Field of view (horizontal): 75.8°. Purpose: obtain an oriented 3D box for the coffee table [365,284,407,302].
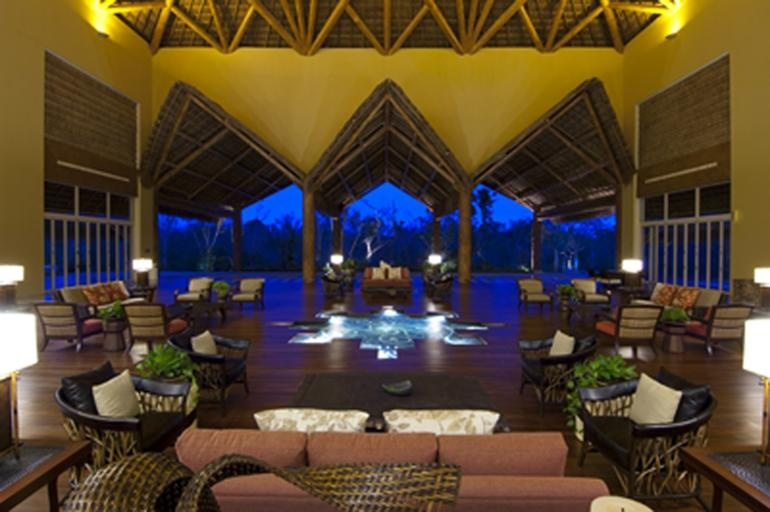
[{"bbox_3d":[0.065,1.280,17.003,1.692,0.476,2.060,-1,-1,-3],"label":"coffee table"}]
